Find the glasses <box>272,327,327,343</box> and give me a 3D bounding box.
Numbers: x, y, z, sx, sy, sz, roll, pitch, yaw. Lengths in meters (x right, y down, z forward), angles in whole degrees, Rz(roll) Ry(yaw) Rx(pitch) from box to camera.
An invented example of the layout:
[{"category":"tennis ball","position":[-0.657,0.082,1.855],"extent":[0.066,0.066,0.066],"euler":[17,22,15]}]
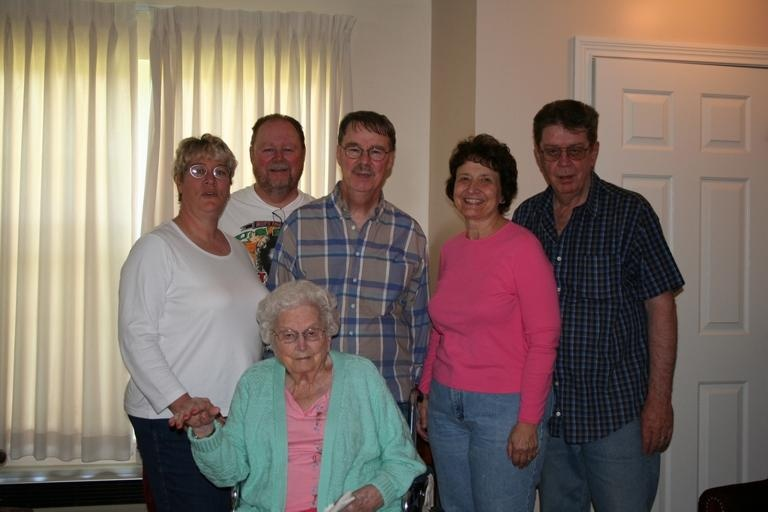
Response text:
[{"category":"glasses","position":[-0.410,0.384,3.429],"extent":[0.227,0.075,0.041],"euler":[-1,3,-4]}]
